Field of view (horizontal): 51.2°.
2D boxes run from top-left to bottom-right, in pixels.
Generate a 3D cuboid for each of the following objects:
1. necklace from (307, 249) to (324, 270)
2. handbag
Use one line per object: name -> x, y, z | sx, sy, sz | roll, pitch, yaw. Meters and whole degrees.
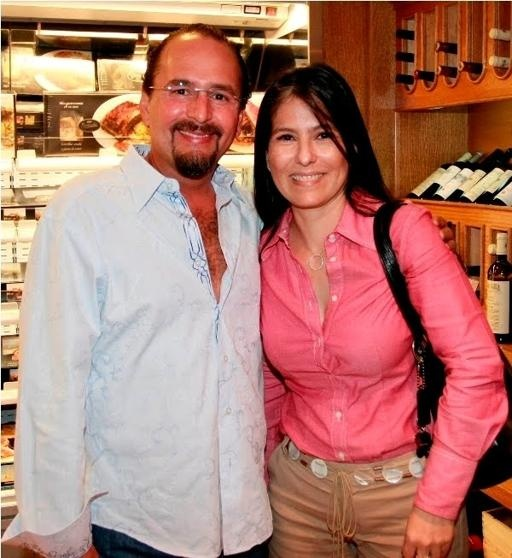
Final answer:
necklace -> 0.152, -0.048, 1.349 | 0.037, 0.046, 0.011 | -1, -16, 39
handbag -> 0.496, 0.318, 1.218 | 0.272, 0.366, 0.117 | -5, 6, -9
